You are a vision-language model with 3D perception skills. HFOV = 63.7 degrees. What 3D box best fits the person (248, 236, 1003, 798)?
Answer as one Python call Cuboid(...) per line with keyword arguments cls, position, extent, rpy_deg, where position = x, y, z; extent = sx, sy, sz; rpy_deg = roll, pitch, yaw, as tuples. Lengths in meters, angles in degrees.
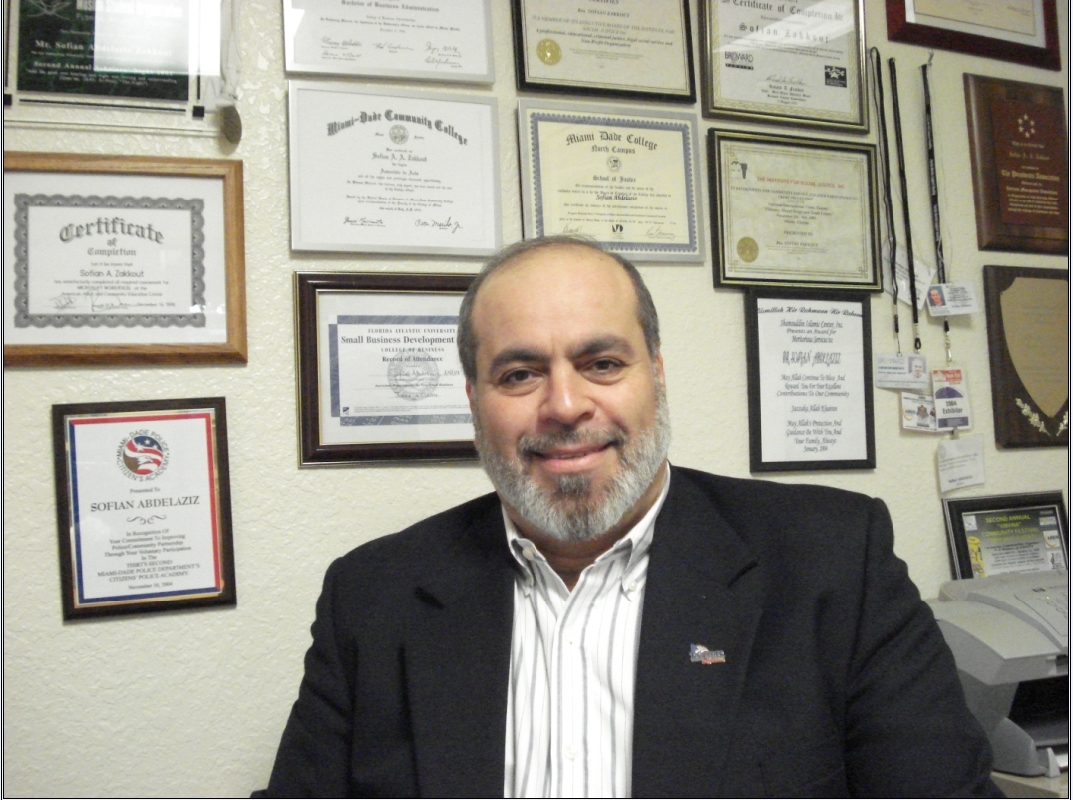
Cuboid(cls="person", position=(0.171, 0.228, 1.887), extent=(1.471, 1.188, 0.333), rpy_deg=(-3, -4, 12))
